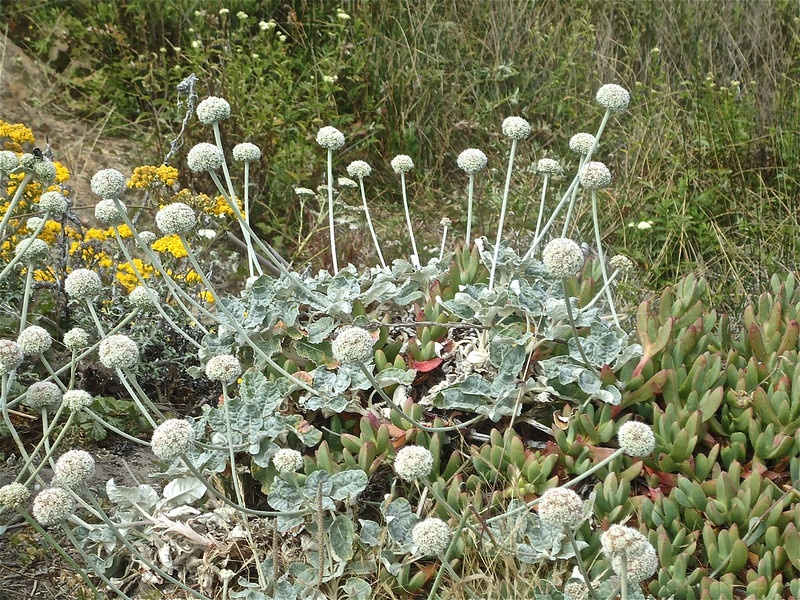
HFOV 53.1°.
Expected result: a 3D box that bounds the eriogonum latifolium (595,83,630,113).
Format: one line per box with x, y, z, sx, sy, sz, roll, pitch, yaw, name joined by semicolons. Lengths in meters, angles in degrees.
0.965;-0.918;3.686;0.130;0.128;0.140;8;22;-7;eriogonum latifolium
